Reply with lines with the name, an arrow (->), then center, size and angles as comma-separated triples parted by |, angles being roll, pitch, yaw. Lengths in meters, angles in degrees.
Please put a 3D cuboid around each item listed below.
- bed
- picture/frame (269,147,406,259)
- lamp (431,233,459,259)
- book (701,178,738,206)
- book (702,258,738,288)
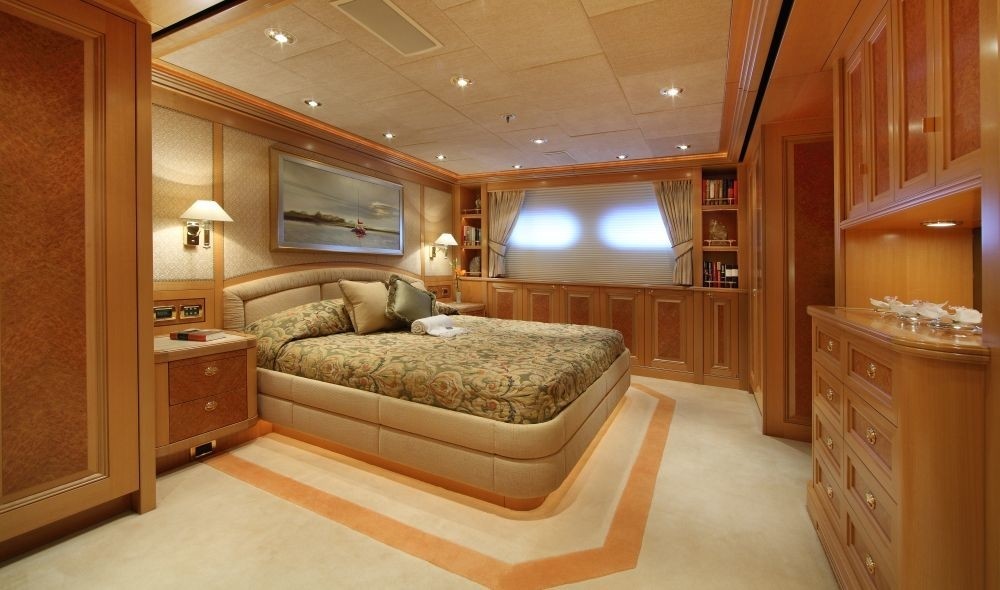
bed -> -0.613, 0.522, 5.917 | 3.501, 1.210, 2.677 | 10, 15, 32
picture/frame -> -1.838, -1.014, 6.555 | 0.062, 0.737, 1.531 | 3, 3, 38
lamp -> -0.767, -0.667, 8.229 | 0.417, 0.331, 0.387 | 3, 6, 17
book -> 2.617, -1.217, 7.148 | 0.424, 0.326, 0.205 | -1, 4, 0
book -> 2.624, -0.250, 7.120 | 0.425, 0.308, 0.182 | 2, 6, 29
